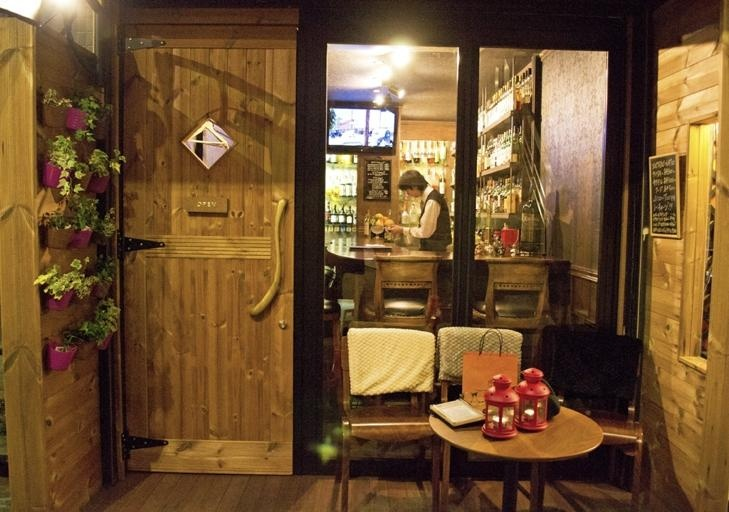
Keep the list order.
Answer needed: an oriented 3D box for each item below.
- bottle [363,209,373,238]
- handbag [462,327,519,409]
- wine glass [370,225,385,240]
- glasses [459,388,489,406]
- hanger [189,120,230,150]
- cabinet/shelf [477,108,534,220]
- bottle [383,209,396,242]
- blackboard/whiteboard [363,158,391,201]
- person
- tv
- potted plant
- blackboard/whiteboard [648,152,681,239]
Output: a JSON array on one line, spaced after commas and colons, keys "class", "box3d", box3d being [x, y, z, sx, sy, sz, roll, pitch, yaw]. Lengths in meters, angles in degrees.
[{"class": "bottle", "box3d": [0.028, -0.233, 4.275, 0.065, 0.178, 0.018, -1, 4, 6]}, {"class": "handbag", "box3d": [0.756, 0.698, 3.696, 0.325, 0.509, 0.168, 1, -35, 11]}, {"class": "wine glass", "box3d": [0.099, -0.167, 4.274, 0.079, 0.084, 0.082, 1, 6, 9]}, {"class": "glasses", "box3d": [0.656, 0.846, 3.691, 0.145, 0.051, 0.148, 0, -7, -12]}, {"class": "hanger", "box3d": [-1.048, -0.850, 4.224, 0.180, 0.137, 0.013, 5, 3, -6]}, {"class": "cabinet/shelf", "box3d": [0.959, -0.638, 4.275, 0.223, 0.736, 0.685, 3, -5, -25]}, {"class": "bottle", "box3d": [0.176, -0.195, 4.225, 0.082, 0.175, 0.062, -2, 1, 3]}, {"class": "blackboard/whiteboard", "box3d": [0.085, -0.554, 4.266, 0.269, 0.396, 0.038, 1, 1, -3]}, {"class": "person", "box3d": [0.423, -0.207, 4.403, 0.413, 0.832, 0.375, 5, 22, 26]}, {"class": "tv", "box3d": [-0.010, -0.887, 4.241, 0.476, 0.343, 0.075, -2, 4, -13]}, {"class": "potted plant", "box3d": [-1.715, -0.178, 3.832, 0.320, 1.709, 0.708, -1, 4, 5]}, {"class": "blackboard/whiteboard", "box3d": [1.917, -0.389, 3.932, 0.077, 0.528, 0.267, -2, 4, -4]}]
